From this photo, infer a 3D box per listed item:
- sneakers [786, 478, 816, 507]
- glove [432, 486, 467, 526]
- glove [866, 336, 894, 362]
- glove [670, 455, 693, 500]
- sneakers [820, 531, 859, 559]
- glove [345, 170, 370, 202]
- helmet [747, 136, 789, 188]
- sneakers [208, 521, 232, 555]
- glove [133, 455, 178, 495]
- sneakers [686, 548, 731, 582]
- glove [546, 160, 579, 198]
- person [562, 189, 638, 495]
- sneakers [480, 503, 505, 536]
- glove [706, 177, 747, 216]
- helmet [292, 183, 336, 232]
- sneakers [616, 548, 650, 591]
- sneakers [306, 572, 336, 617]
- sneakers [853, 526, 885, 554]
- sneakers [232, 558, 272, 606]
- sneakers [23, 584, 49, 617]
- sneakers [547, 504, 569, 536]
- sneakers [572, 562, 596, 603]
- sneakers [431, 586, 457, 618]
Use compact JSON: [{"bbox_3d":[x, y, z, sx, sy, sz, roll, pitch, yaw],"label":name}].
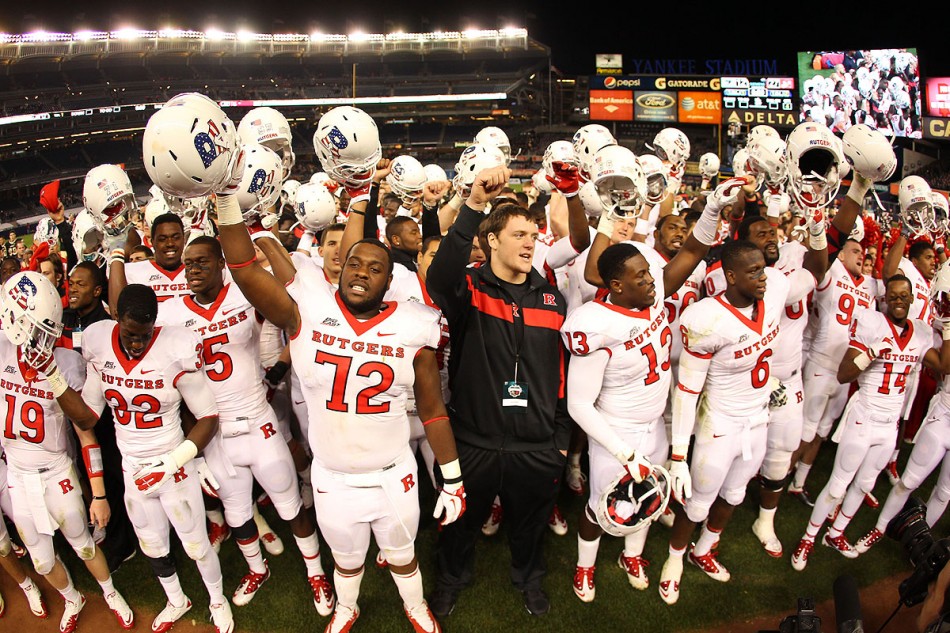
[{"bbox_3d":[4.252,2.293,9.226,0.184,0.154,0.357,-31,58,-27],"label":"sneakers"},{"bbox_3d":[-0.309,1.907,7.188,0.470,0.319,0.172,-21,8,42],"label":"glove"},{"bbox_3d":[4.730,0.357,8.334,0.367,0.244,0.170,-8,17,-22],"label":"glove"},{"bbox_3d":[2.159,1.704,7.543,0.171,0.442,0.312,3,6,-6],"label":"glove"},{"bbox_3d":[4.398,2.742,8.547,0.361,0.162,0.206,20,42,17],"label":"sneakers"},{"bbox_3d":[-1.232,-1.410,7.542,0.278,0.241,0.264,10,-31,-11],"label":"glove"},{"bbox_3d":[3.542,-1.878,8.551,0.508,0.581,0.420,9,19,32],"label":"helmet"},{"bbox_3d":[-3.134,2.651,8.679,0.236,0.565,0.187,-9,-17,32],"label":"sneakers"},{"bbox_3d":[-3.258,1.602,7.283,0.433,0.324,0.172,-28,-9,-30],"label":"glove"},{"bbox_3d":[2.720,2.838,8.232,0.486,0.233,0.246,24,40,20],"label":"sneakers"},{"bbox_3d":[0.932,-1.472,7.522,0.272,0.375,0.354,-10,38,-8],"label":"glove"},{"bbox_3d":[1.334,0.287,7.588,0.732,2.794,1.242,1,16,10],"label":"person"},{"bbox_3d":[0.215,2.494,8.740,0.200,0.251,0.611,5,-3,13],"label":"sneakers"},{"bbox_3d":[2.723,-1.246,7.611,0.463,0.187,0.342,-42,19,-21],"label":"glove"},{"bbox_3d":[-2.130,-1.448,9.576,0.488,0.640,0.520,-24,-3,-6],"label":"helmet"},{"bbox_3d":[1.831,2.849,8.122,0.231,0.198,0.456,4,37,-43],"label":"sneakers"},{"bbox_3d":[-1.709,3.004,7.875,0.204,0.207,0.512,-16,34,-16],"label":"sneakers"},{"bbox_3d":[4.807,2.666,8.554,0.529,0.183,0.197,-30,-26,16],"label":"sneakers"},{"bbox_3d":[-2.511,3.009,8.081,0.203,0.223,0.556,15,12,9],"label":"sneakers"},{"bbox_3d":[-4.941,3.193,7.974,0.113,0.353,0.136,-26,7,-21],"label":"sneakers"},{"bbox_3d":[1.024,2.511,8.769,0.193,0.211,0.533,-9,16,-5],"label":"sneakers"},{"bbox_3d":[1.226,2.959,7.931,0.186,0.174,0.431,0,16,0],"label":"sneakers"},{"bbox_3d":[-0.312,3.090,7.814,0.149,0.271,0.394,3,24,10],"label":"sneakers"}]
